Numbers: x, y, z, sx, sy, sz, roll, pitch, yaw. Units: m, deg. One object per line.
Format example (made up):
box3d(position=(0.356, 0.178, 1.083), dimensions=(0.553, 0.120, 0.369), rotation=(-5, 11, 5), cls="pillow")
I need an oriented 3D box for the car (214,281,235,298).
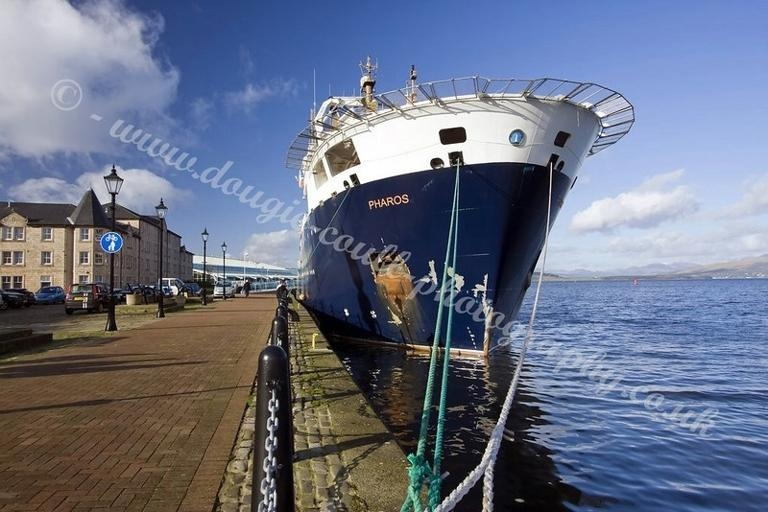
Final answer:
box3d(position=(-14.211, 3.042, 40.734), dimensions=(1.877, 1.373, 4.142), rotation=(1, -6, -16), cls="car")
